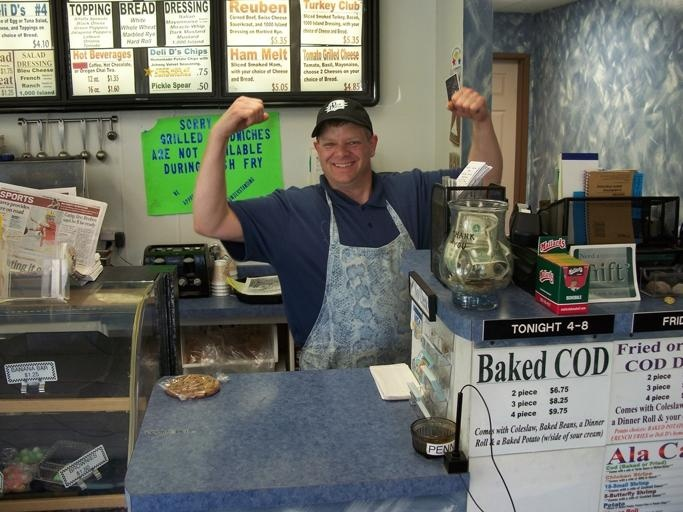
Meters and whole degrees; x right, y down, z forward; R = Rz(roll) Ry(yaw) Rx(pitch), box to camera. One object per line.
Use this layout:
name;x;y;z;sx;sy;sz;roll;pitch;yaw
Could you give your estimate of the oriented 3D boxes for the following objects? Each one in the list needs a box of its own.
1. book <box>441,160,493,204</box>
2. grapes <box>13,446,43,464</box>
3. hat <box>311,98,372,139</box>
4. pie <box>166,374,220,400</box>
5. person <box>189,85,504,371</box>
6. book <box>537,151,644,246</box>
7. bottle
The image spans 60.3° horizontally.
book;0.403;-0.249;1.872;0.046;0.156;0.116;31;5;-42
grapes;-1.150;0.736;2.180;0.078;0.034;0.075;-1;1;-32
hat;0.009;-0.658;2.703;0.251;0.183;0.354;-5;7;13
pie;-0.504;0.441;1.998;0.191;0.034;0.143;-5;13;-11
person;0.032;-0.107;2.596;1.296;1.168;0.532;-3;11;-2
book;0.792;-0.164;1.824;0.252;0.322;0.114;0;-14;-1
bottle;0.393;-0.009;1.686;0.202;0.298;0.209;-3;14;1
